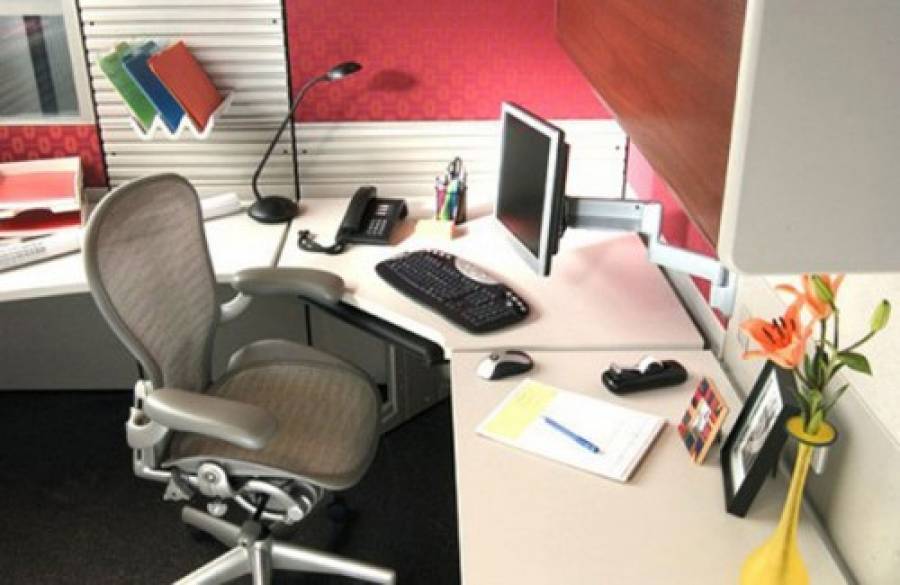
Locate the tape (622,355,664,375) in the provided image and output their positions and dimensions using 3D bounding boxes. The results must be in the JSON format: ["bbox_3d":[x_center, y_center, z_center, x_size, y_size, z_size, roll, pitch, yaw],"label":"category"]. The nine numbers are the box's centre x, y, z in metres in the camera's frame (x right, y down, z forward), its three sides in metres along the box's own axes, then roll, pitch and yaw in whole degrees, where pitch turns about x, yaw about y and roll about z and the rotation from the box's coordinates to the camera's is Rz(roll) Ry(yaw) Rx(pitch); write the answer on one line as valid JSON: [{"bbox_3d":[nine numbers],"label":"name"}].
[{"bbox_3d":[0.531,0.199,1.787,0.086,0.020,0.049,-1,30,-3],"label":"tape"}]

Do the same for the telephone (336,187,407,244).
[{"bbox_3d":[-0.296,-0.297,2.533,0.224,0.111,0.290,4,40,7],"label":"telephone"}]

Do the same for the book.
[{"bbox_3d":[0.298,0.346,1.670,0.401,0.032,0.275,10,29,35],"label":"book"}]

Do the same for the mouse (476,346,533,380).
[{"bbox_3d":[0.149,0.202,1.810,0.129,0.042,0.078,-10,32,-9],"label":"mouse"}]

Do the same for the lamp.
[{"bbox_3d":[-0.609,-0.648,2.714,0.536,0.743,0.286,0,39,-12],"label":"lamp"}]

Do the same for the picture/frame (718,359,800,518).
[{"bbox_3d":[0.696,0.342,1.461,0.113,0.248,0.268,14,42,9],"label":"picture/frame"}]
